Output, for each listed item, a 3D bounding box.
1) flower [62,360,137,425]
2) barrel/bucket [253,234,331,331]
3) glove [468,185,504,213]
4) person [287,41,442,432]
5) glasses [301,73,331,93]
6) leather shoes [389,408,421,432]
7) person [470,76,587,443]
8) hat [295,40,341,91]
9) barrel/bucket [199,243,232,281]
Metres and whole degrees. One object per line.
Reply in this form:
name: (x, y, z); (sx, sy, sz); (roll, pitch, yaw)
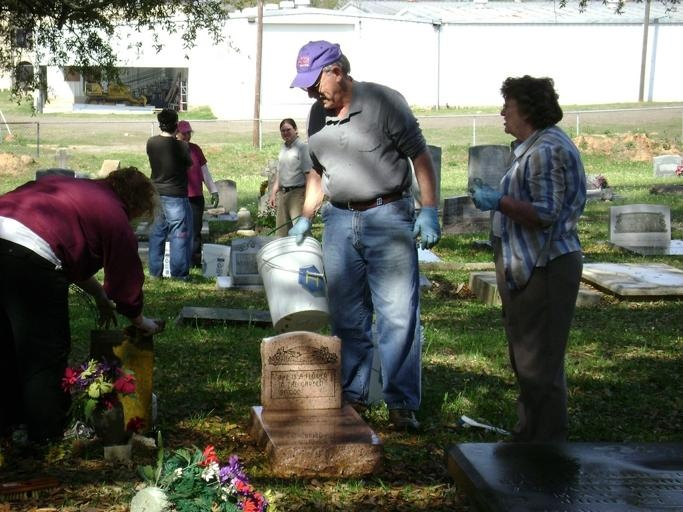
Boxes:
flower: (-1.643, 0.881, 5.748); (0.460, 0.361, 0.455); (8, 2, -43)
barrel/bucket: (-0.473, 0.242, 6.574); (0.647, 0.634, 0.657); (-11, -29, -6)
glove: (0.962, -0.386, 5.715); (0.162, 0.073, 0.213); (-22, 44, -32)
person: (0.160, -0.176, 6.351); (1.089, 2.788, 0.675); (6, 15, 17)
glasses: (-0.171, -1.265, 6.235); (0.046, 0.169, 0.166); (43, -15, -11)
leather shoes: (0.466, 1.215, 6.321); (0.227, 0.150, 0.161); (2, 13, 3)
person: (1.297, 0.028, 5.844); (0.845, 2.497, 0.699); (10, 16, 30)
hat: (-0.226, -1.407, 6.231); (0.310, 0.367, 0.465); (10, 16, 34)
barrel/bucket: (-1.806, 0.049, 12.184); (0.382, 0.456, 0.544); (-1, 13, -9)
